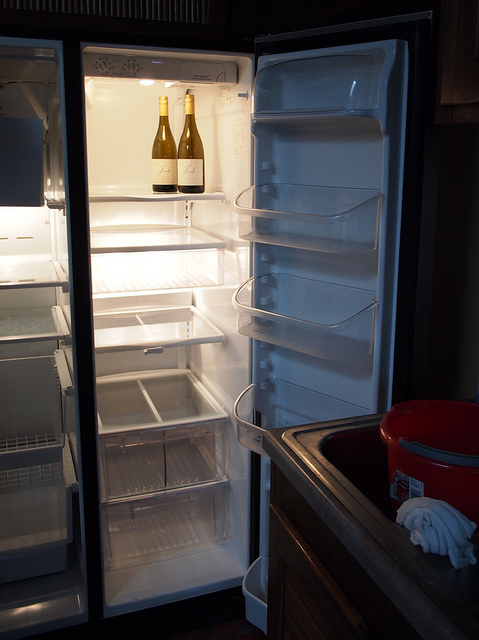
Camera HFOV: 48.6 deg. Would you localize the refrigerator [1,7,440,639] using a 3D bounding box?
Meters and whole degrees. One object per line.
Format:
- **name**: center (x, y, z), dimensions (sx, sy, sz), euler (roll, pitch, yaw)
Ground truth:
- **refrigerator**: center (-0.266, 0.098, 1.608), dimensions (0.855, 1.852, 1.297), euler (0, 14, -28)
